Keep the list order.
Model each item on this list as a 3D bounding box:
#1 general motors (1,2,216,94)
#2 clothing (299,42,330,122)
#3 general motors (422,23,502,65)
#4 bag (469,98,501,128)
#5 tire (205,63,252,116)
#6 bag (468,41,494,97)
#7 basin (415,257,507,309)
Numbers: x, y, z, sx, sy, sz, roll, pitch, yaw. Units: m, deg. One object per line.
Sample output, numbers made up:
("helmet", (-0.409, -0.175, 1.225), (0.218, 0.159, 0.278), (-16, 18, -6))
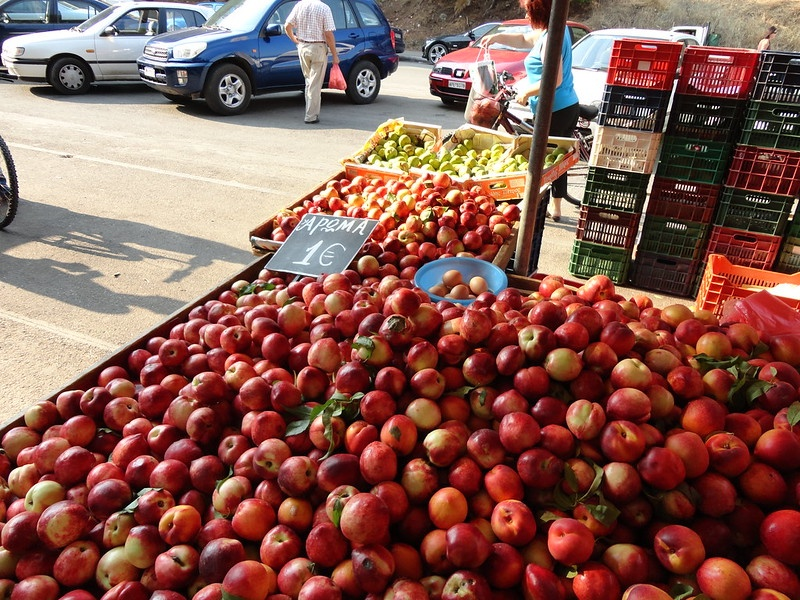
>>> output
("general motors", (-6.453, -5.475, 12.271), (4.748, 1.664, 2.087), (-10, 36, -23))
("clothing", (-1.565, -3.997, 9.982), (0.530, 1.352, 0.432), (13, 14, 39))
("general motors", (1.710, -8.167, 17.276), (3.110, 1.093, 1.555), (4, 40, 8))
("bag", (1.039, -2.258, 6.672), (0.348, 0.362, 0.345), (10, 28, 6))
("tire", (-3.213, -4.056, 10.710), (0.895, 0.935, 0.321), (5, 11, 17))
("bag", (1.004, -2.681, 6.688), (0.228, 0.465, 0.721), (-5, 71, 7))
("basin", (0.247, -0.117, 3.265), (0.380, 0.157, 0.382), (-6, 11, 1))
